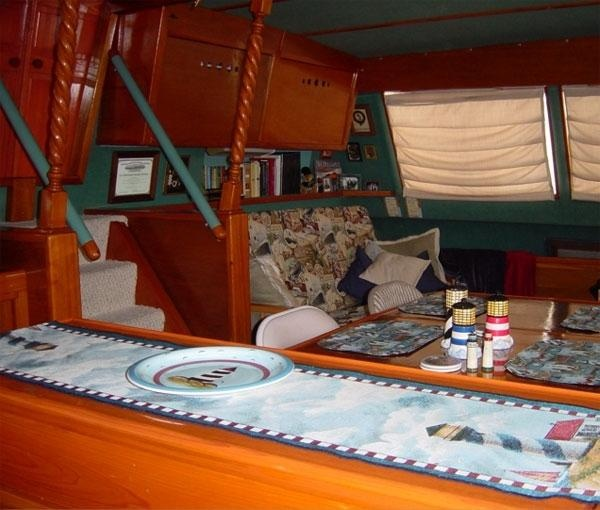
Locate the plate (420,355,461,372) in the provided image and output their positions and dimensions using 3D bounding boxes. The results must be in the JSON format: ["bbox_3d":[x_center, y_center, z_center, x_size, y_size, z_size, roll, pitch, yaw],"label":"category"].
[{"bbox_3d":[0.372,0.285,1.262,0.103,0.023,0.120,1,7,15],"label":"plate"}]

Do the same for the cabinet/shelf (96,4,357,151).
[{"bbox_3d":[-0.525,-1.180,3.151,0.318,0.413,1.536,4,8,35],"label":"cabinet/shelf"}]

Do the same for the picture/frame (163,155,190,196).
[{"bbox_3d":[-0.962,-0.582,3.679,0.065,0.239,0.199,2,10,20],"label":"picture/frame"}]

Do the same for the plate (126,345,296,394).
[{"bbox_3d":[-0.166,0.214,0.912,0.304,0.031,0.212,-2,7,-7],"label":"plate"}]

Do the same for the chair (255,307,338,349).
[{"bbox_3d":[-0.059,0.247,1.875,0.238,0.210,0.213,-6,1,-39],"label":"chair"}]

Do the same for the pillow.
[{"bbox_3d":[0.824,0.088,4.220,0.929,0.601,0.225,-3,-24,-6],"label":"pillow"}]
